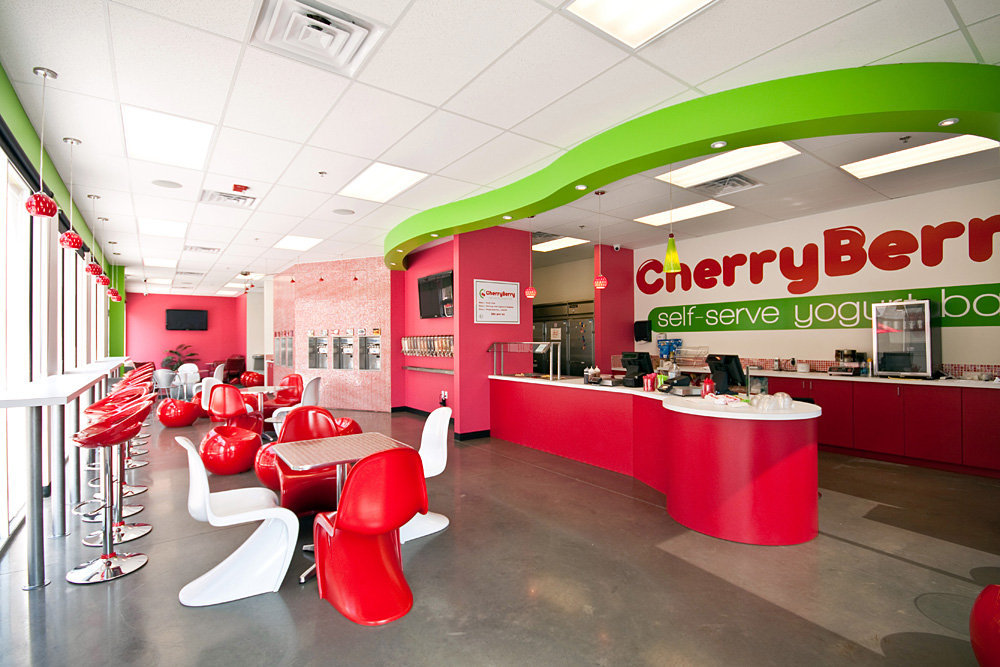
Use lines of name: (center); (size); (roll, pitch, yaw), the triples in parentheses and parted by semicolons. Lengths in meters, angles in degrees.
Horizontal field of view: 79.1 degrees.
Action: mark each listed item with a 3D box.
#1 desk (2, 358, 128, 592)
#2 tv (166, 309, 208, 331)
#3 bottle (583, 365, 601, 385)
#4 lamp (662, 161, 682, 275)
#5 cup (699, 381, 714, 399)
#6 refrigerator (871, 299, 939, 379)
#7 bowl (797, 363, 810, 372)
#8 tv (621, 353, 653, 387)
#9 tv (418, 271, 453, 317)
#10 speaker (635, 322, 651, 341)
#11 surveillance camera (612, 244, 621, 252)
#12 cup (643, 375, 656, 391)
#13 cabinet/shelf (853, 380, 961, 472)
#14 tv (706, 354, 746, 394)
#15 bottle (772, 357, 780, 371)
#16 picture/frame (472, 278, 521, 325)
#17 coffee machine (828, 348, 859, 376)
desk: (-4.707, 1.584, 6.553); (0.523, 1.106, 2.173); (0, 4, -22)
tv: (-10.662, -0.457, 20.822); (0.350, 0.828, 1.289); (-2, 0, 44)
bottle: (1.356, 0.608, 8.846); (0.254, 0.244, 0.250); (-2, 4, -28)
lamp: (2.195, -1.390, 7.776); (0.266, 1.077, 0.244); (0, 14, 27)
cup: (2.450, 0.661, 7.190); (0.190, 0.179, 0.141); (-4, -6, 39)
refrigerator: (6.044, 0.175, 9.126); (0.880, 1.135, 0.882); (15, -15, -28)
bowl: (4.911, 0.554, 9.877); (0.076, 0.125, 0.134); (5, -7, -29)
tv: (1.862, 0.499, 8.269); (0.263, 0.447, 0.468); (1, -1, -41)
tv: (-1.164, -0.709, 11.592); (0.144, 0.865, 1.422); (-5, 0, -35)
speaker: (2.861, -0.047, 12.153); (0.143, 0.422, 0.377); (-1, 3, -44)
surveillance camera: (2.344, -1.702, 12.137); (0.110, 0.107, 0.268); (-2, 0, 39)
cup: (1.938, 0.636, 7.888); (0.156, 0.197, 0.276); (-2, 0, 13)
cabinet/shelf: (5.913, 1.105, 8.785); (1.336, 1.204, 0.722); (3, 20, 45)
tv: (2.790, 0.503, 7.503); (0.391, 0.430, 0.391); (-2, 0, 18)
bottle: (4.708, 0.505, 10.351); (0.111, 0.202, 0.235); (-2, 0, 24)
picture/frame: (-0.097, -0.556, 10.402); (0.874, 0.628, 0.041); (0, 0, -39)
coffee machine: (5.320, 0.463, 9.384); (0.374, 0.471, 0.483); (5, -6, -18)
